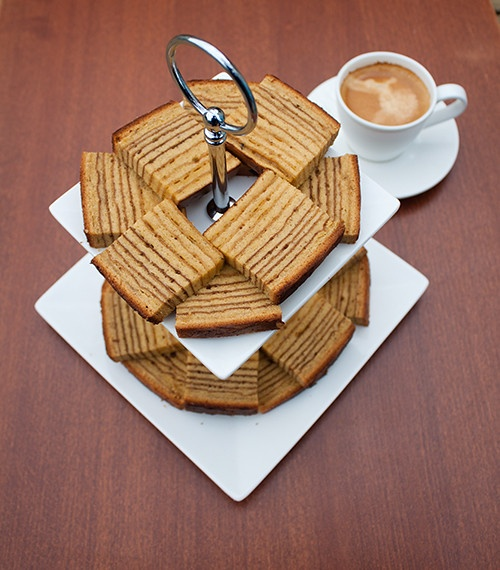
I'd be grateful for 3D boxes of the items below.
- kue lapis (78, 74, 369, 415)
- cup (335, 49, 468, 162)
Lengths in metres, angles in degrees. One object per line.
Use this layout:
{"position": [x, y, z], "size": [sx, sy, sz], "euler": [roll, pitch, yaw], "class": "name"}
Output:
{"position": [0.024, -0.002, 0.754], "size": [0.214, 0.231, 0.226], "euler": [16, 59, 45], "class": "kue lapis"}
{"position": [0.296, -0.303, 1.070], "size": [0.181, 0.135, 0.112], "euler": [15, 86, 22], "class": "cup"}
